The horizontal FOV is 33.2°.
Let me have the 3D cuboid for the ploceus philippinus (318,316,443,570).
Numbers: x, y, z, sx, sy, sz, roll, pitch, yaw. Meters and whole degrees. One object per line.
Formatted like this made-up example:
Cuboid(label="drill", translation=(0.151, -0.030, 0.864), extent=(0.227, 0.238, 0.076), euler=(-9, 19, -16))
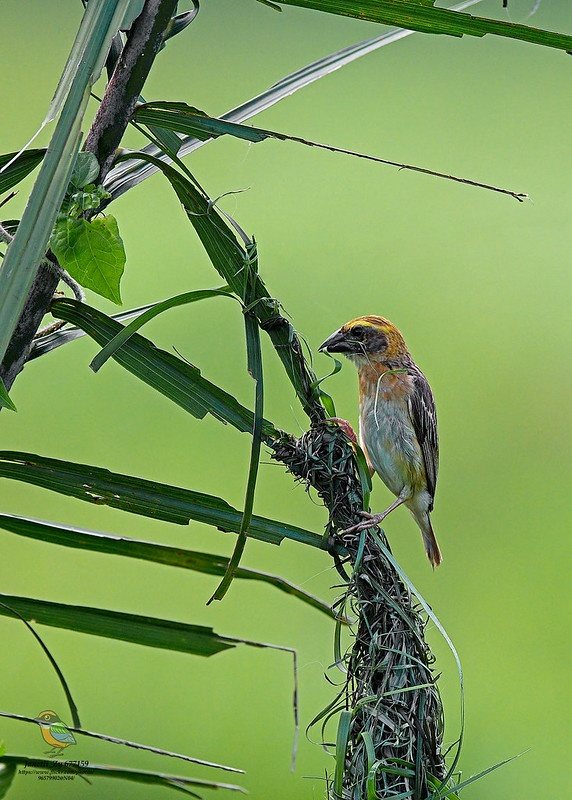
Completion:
Cuboid(label="ploceus philippinus", translation=(0.223, 0.103, 1.916), extent=(0.184, 0.419, 0.427), euler=(-15, -45, 22))
